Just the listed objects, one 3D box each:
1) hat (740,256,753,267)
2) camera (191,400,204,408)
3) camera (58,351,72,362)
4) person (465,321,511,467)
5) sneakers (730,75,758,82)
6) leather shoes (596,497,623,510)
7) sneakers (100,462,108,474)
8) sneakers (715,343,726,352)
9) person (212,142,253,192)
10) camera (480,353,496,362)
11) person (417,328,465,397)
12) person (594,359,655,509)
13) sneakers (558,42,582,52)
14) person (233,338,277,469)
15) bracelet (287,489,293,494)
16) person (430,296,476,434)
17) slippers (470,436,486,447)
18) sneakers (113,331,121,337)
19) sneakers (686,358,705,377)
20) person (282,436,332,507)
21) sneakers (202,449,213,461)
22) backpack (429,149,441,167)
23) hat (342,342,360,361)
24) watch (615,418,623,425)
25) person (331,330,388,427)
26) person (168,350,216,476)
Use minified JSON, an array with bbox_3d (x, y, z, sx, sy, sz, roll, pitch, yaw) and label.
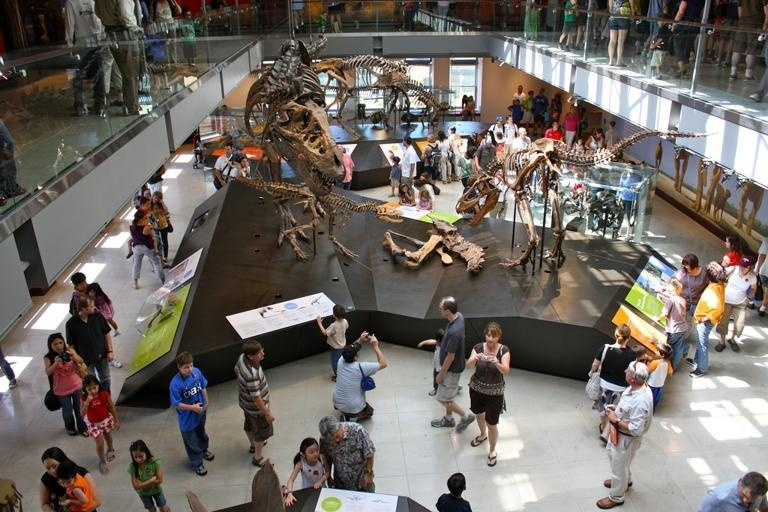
[{"bbox_3d":[6.431,0.065,8.563,0.174,0.157,0.311,17,30,35],"label":"hat"},{"bbox_3d":[-2.483,1.972,6.497,0.093,0.033,0.075,-34,-7,15],"label":"camera"},{"bbox_3d":[-4.466,1.395,6.793,0.124,0.124,0.124,-3,1,-3],"label":"camera"},{"bbox_3d":[1.487,1.890,6.737,0.439,2.014,0.602,-18,30,-32],"label":"person"},{"bbox_3d":[5.742,-2.819,7.698,0.141,0.166,0.415,3,20,12],"label":"sneakers"},{"bbox_3d":[2.938,3.182,6.304,0.297,0.108,0.154,4,22,10],"label":"leather shoes"},{"bbox_3d":[-3.906,2.942,6.759,0.070,0.081,0.189,0,-2,-34],"label":"sneakers"},{"bbox_3d":[6.153,1.648,8.856,0.227,0.096,0.101,-7,43,5],"label":"sneakers"},{"bbox_3d":[-3.727,-2.140,11.742,0.780,1.078,0.984,-11,26,-20],"label":"person"},{"bbox_3d":[1.379,1.354,6.499,0.122,0.036,0.120,0,15,-13],"label":"camera"},{"bbox_3d":[0.896,1.657,7.500,0.507,1.197,0.587,1,50,0],"label":"person"},{"bbox_3d":[3.157,2.328,6.353,0.659,2.178,0.799,11,40,24],"label":"person"},{"bbox_3d":[5.171,-5.812,13.512,0.458,0.194,0.155,13,48,25],"label":"sneakers"},{"bbox_3d":[-1.870,2.144,6.917,0.463,1.933,0.690,-10,48,-18],"label":"person"},{"bbox_3d":[-1.020,2.513,5.217,0.040,0.034,0.103,-8,-11,-4],"label":"bracelet"},{"bbox_3d":[1.075,1.725,7.446,0.909,2.487,0.901,4,31,11],"label":"person"},{"bbox_3d":[1.389,2.719,7.154,0.256,0.061,0.100,-15,36,-15],"label":"slippers"},{"bbox_3d":[-5.183,1.489,9.389,0.134,0.095,0.061,5,55,0],"label":"sneakers"},{"bbox_3d":[5.418,1.922,8.436,0.123,0.145,0.366,-7,8,18],"label":"sneakers"},{"bbox_3d":[-0.876,2.424,5.326,0.497,0.817,0.599,-6,25,-11],"label":"person"},{"bbox_3d":[-2.515,2.846,6.965,0.161,0.106,0.094,15,25,37],"label":"sneakers"},{"bbox_3d":[1.638,-3.121,15.457,0.472,0.675,0.367,-2,19,-2],"label":"backpack"},{"bbox_3d":[-0.449,1.348,6.805,0.191,0.259,0.235,11,-10,12],"label":"hat"},{"bbox_3d":[2.879,2.001,5.923,0.070,0.017,0.071,27,61,36],"label":"watch"},{"bbox_3d":[-0.419,1.816,7.243,0.694,1.225,0.673,10,12,23],"label":"person"},{"bbox_3d":[-2.597,2.097,6.640,0.473,1.810,0.485,17,31,35],"label":"person"}]
